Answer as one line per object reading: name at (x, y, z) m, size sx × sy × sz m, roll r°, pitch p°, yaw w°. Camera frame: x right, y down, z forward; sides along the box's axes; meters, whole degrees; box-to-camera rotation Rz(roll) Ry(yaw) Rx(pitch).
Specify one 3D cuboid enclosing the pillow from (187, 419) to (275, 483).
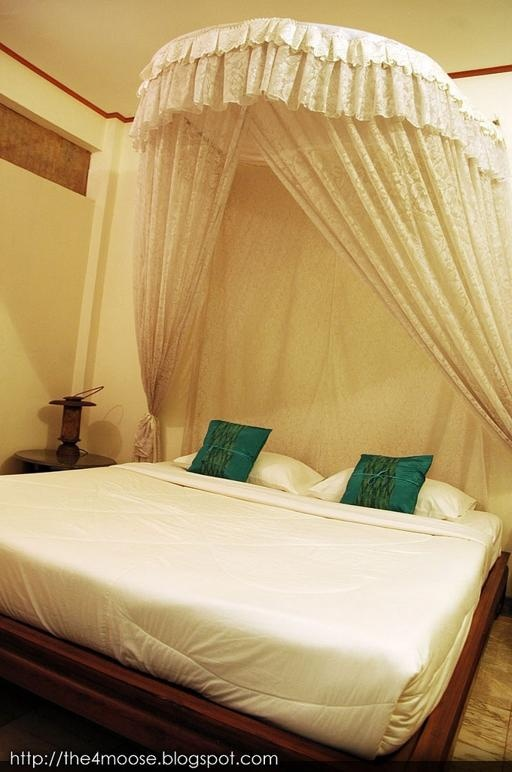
pillow at (-0.136, 0.334, 2.988) m, size 0.343 × 0.315 × 0.093 m, roll 9°, pitch -27°, yaw 35°
